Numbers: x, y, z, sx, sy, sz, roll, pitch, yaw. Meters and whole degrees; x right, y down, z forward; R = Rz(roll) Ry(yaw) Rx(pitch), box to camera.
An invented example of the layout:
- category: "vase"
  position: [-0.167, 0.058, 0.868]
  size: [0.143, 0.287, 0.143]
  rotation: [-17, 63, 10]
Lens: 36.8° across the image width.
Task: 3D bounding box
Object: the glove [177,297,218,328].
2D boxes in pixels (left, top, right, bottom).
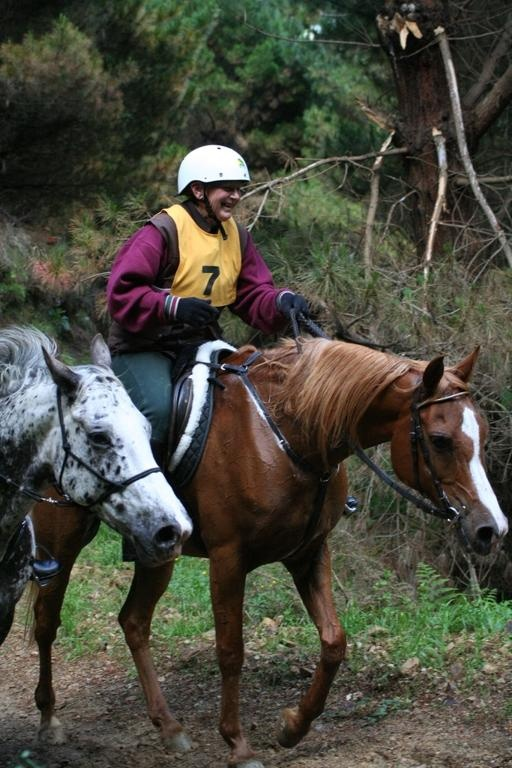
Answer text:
- category: "glove"
  position: [-0.260, -0.297, 3.239]
  size: [0.169, 0.047, 0.113]
  rotation: [12, 49, -8]

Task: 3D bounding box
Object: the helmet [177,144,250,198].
- category: "helmet"
  position: [-0.218, -1.032, 3.702]
  size: [0.372, 0.195, 0.305]
  rotation: [2, 24, 21]

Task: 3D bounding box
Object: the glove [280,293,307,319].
- category: "glove"
  position: [0.163, -0.383, 3.627]
  size: [0.103, 0.042, 0.132]
  rotation: [1, 31, -42]
